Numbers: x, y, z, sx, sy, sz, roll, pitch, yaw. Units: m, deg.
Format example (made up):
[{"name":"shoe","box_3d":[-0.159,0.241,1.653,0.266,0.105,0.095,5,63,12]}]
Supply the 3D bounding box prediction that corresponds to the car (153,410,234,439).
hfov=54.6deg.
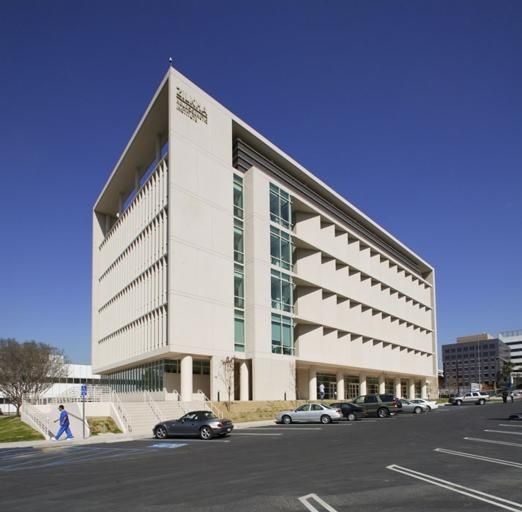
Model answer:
[{"name":"car","box_3d":[-3.134,8.159,23.886,2.827,1.186,1.788,-3,-22,15]}]
